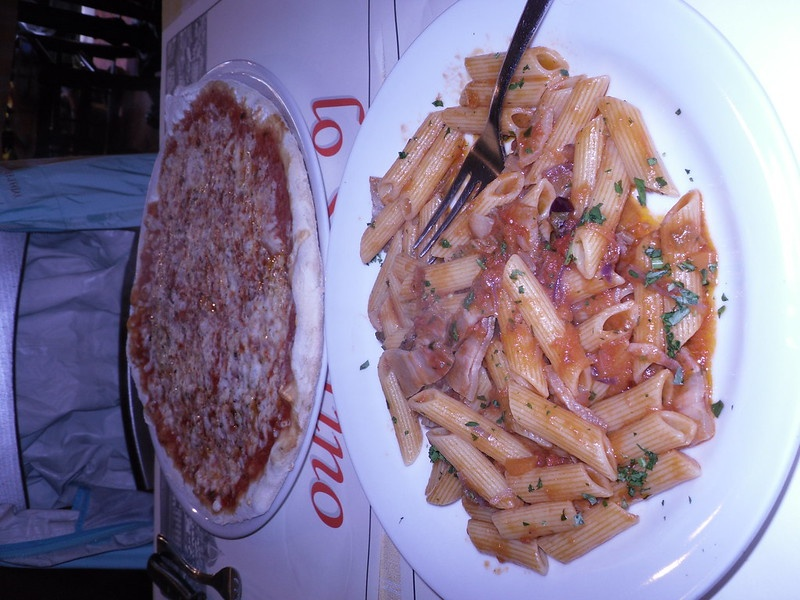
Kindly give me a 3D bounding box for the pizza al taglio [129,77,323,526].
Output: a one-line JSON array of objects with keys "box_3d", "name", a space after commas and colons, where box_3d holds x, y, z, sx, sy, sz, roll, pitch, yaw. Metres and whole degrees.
[{"box_3d": [-1.055, -0.030, 4.920, 1.038, 3.560, 1.049, -3, 15, 25], "name": "pizza al taglio"}]
